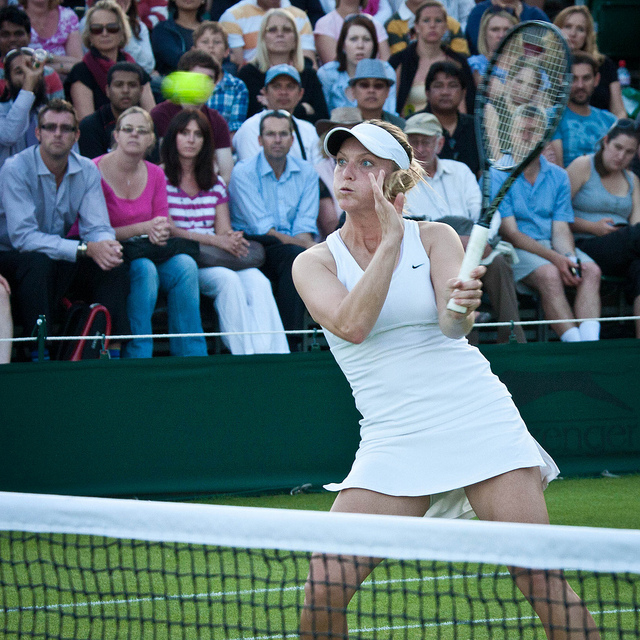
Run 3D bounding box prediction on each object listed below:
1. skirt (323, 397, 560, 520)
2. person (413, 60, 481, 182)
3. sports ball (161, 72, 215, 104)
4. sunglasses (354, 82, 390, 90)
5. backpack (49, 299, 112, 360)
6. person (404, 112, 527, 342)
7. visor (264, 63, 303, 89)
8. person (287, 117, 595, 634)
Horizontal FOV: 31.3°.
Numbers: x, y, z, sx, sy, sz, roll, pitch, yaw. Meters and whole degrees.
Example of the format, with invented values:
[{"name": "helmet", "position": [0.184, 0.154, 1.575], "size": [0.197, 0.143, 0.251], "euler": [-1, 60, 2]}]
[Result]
[{"name": "skirt", "position": [0.438, 0.516, 4.431], "size": [0.930, 0.438, 0.487], "euler": [-9, -24, 24]}, {"name": "person", "position": [1.072, -1.648, 9.162], "size": [0.691, 1.105, 0.279], "euler": [-3, 15, 15]}, {"name": "sports ball", "position": [-0.986, -1.673, 8.360], "size": [0.393, 0.236, 0.299], "euler": [-2, 8, 7]}, {"name": "sunglasses", "position": [0.399, -1.780, 8.789], "size": [0.249, 0.057, 0.096], "euler": [-4, 9, -6]}, {"name": "backpack", "position": [-1.431, 0.071, 6.889], "size": [0.259, 0.501, 0.347], "euler": [-3, 26, -33]}, {"name": "person", "position": [0.990, -0.809, 8.113], "size": [0.626, 2.166, 0.527], "euler": [-3, -12, 1]}, {"name": "visor", "position": [-0.306, -1.845, 8.742], "size": [0.253, 0.161, 0.418], "euler": [2, -1, -2]}, {"name": "person", "position": [0.402, 0.168, 4.355], "size": [1.001, 1.843, 0.831], "euler": [-3, 8, -2]}]
